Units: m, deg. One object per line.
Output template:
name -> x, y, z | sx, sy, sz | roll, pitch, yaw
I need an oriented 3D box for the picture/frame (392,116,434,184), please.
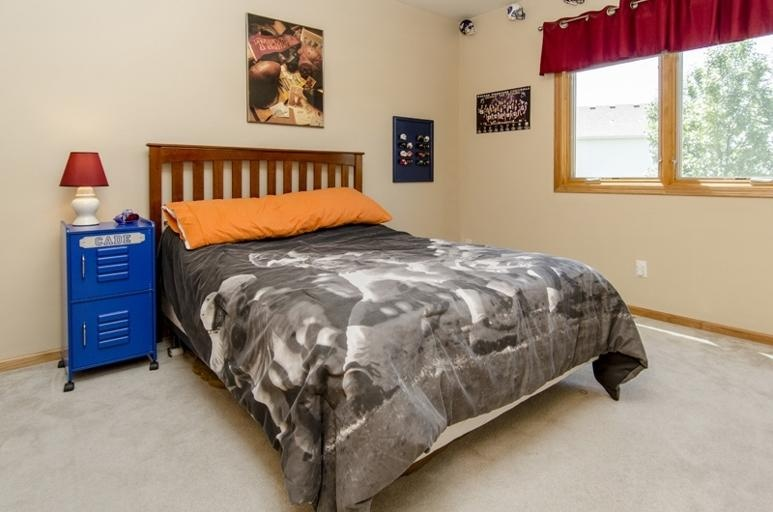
picture/frame -> 0.270, -1.157, 4.810 | 0.734, 0.864, 0.082 | -1, 2, -44

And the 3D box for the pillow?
pillow -> -0.866, -0.349, 3.701 | 1.605, 0.362, 0.461 | -10, 13, -34
